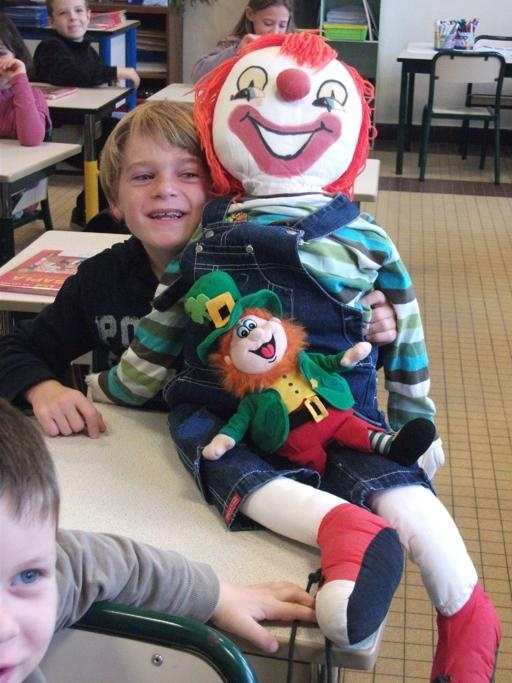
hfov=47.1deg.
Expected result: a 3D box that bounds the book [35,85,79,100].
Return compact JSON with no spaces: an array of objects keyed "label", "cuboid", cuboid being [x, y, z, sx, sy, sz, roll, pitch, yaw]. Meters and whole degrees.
[{"label":"book","cuboid":[-1.193,-1.474,3.475,0.266,0.030,0.290,-16,29,-42]}]

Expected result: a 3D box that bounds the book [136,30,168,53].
[{"label":"book","cuboid":[-1.043,-2.948,5.769,0.301,0.079,0.274,-6,18,-22]}]

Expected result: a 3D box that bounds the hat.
[{"label":"hat","cuboid":[-0.022,-0.036,0.766,0.065,0.088,0.122,43,17,-6]}]

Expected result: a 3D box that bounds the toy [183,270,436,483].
[{"label":"toy","cuboid":[0.035,0.087,0.763,0.212,0.120,0.303,-37,81,-20]}]
